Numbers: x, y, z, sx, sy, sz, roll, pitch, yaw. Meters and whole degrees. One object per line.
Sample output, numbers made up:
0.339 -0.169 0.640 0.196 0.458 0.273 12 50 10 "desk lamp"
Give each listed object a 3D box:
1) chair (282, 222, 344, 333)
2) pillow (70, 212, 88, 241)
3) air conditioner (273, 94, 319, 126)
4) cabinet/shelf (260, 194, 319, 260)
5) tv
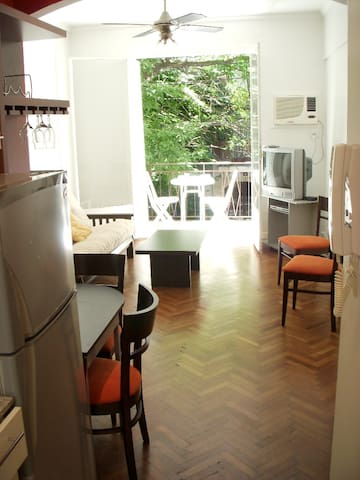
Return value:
1.123 0.278 3.522 0.610 1.278 0.674 3 12 13 "chair"
-1.172 -0.142 4.227 0.084 0.266 0.273 -27 -26 7 "pillow"
1.717 -1.973 5.541 0.646 0.509 0.403 -1 3 7 "air conditioner"
1.630 -0.197 5.306 0.577 1.125 1.191 -1 6 -10 "cabinet/shelf"
1.427 -0.898 4.992 0.370 0.642 0.673 -5 12 -19 "tv"
